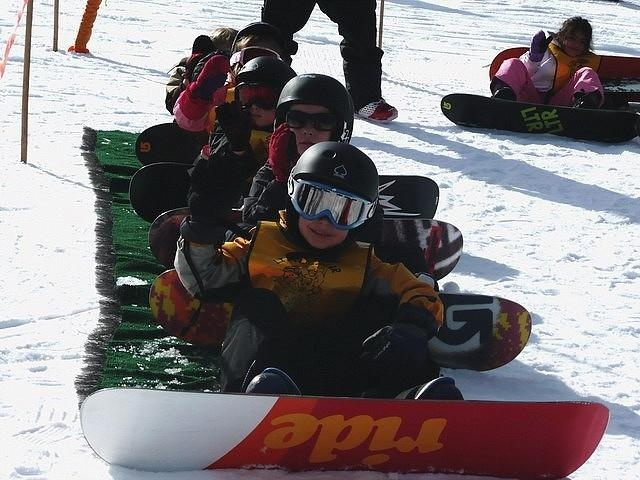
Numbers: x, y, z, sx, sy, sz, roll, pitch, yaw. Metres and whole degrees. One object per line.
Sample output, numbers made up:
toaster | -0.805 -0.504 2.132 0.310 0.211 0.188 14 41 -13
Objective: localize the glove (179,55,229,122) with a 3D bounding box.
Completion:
glove | -0.624 -0.877 5.448 0.224 0.454 0.176 21 49 -15

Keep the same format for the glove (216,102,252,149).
glove | -0.427 -0.575 4.870 0.162 0.243 0.063 -15 5 2

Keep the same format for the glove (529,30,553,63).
glove | 1.945 -1.702 8.464 0.176 0.267 0.065 39 61 7

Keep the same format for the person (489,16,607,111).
person | 2.067 -1.550 8.656 0.921 0.523 0.961 9 18 9

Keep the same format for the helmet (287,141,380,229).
helmet | 0.078 -0.282 4.757 0.463 0.345 0.483 20 19 8

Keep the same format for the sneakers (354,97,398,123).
sneakers | 0.492 -1.137 8.555 0.359 0.125 0.172 5 7 28

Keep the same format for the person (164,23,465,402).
person | -0.040 0.135 4.651 0.955 0.853 1.608 7 19 -6

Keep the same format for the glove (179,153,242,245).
glove | -0.532 -0.196 4.655 0.290 0.424 0.125 24 -13 -21
